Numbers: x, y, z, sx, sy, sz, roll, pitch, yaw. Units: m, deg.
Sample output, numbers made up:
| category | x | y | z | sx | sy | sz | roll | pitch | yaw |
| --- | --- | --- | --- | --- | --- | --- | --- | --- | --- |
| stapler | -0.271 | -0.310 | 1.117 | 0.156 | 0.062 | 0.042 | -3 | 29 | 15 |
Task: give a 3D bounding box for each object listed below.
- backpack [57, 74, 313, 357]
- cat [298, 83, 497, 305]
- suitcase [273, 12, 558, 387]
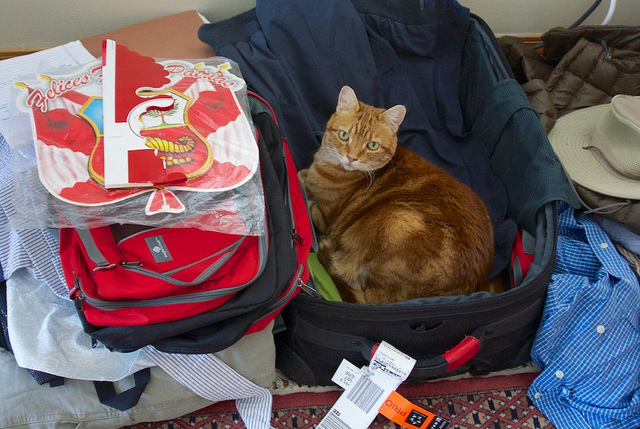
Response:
| category | x | y | z | sx | sy | sz | roll | pitch | yaw |
| --- | --- | --- | --- | --- | --- | --- | --- | --- | --- |
| backpack | -0.470 | -0.016 | 1.973 | 0.801 | 0.340 | 0.974 | -15 | 60 | -13 |
| cat | 0.212 | 0.023 | 2.361 | 0.633 | 0.563 | 0.963 | -41 | 67 | -7 |
| suitcase | 0.366 | 0.027 | 2.390 | 1.011 | 0.613 | 1.458 | -1 | 68 | -2 |
